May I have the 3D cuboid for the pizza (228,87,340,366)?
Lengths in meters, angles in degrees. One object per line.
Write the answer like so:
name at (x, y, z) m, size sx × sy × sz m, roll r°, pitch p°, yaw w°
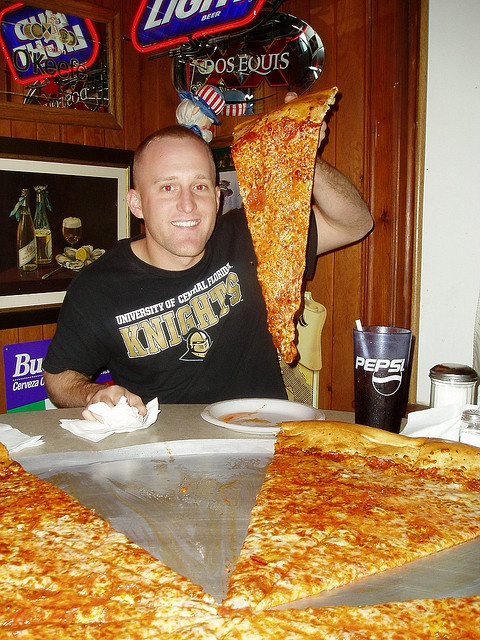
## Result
pizza at (0.139, -0.263, 1.661) m, size 0.382 × 0.791 × 0.074 m, roll -5°, pitch -5°, yaw 29°

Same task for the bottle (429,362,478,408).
bottle at (0.517, 0.156, 1.381) m, size 0.115 × 0.109 × 0.114 m, roll 3°, pitch 6°, yaw 36°

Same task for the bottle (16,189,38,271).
bottle at (-1.235, -0.507, 3.169) m, size 0.056 × 0.469 × 0.125 m, roll 11°, pitch 17°, yaw 28°

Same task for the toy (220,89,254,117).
toy at (-0.009, -1.211, 3.097) m, size 0.175 × 0.163 × 0.045 m, roll 15°, pitch 19°, yaw 10°
